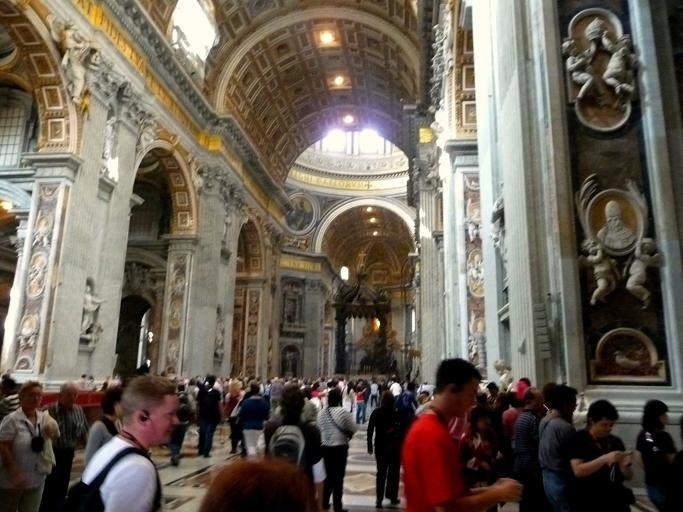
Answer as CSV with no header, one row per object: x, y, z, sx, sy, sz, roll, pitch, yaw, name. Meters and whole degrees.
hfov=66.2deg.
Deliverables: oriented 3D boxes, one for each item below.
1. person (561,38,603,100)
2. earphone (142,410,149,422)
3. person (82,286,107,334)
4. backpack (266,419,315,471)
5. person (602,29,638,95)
2.713,-2.116,5.911,0.392,0.731,0.225,-4,-18,17,person
-1.015,0.824,2.697,0.038,0.049,0.045,3,13,-12,earphone
-5.969,1.316,12.515,0.268,1.258,0.721,-5,-18,19,person
-0.422,1.501,4.104,0.325,0.339,0.386,3,-17,-6,backpack
3.108,-2.145,5.882,0.379,0.753,0.164,2,-18,-1,person
